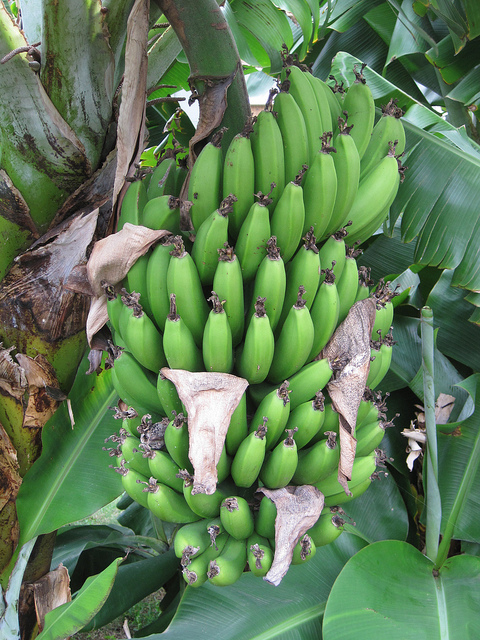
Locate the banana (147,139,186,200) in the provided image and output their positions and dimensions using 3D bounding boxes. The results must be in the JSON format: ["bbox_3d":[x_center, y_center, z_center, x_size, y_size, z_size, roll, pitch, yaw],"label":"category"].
[{"bbox_3d":[-0.208,-0.438,1.714,0.104,0.168,0.201,-3,43,-5],"label":"banana"}]

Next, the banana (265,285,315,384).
[{"bbox_3d":[0.121,0.034,1.497,0.087,0.265,0.084,5,41,7],"label":"banana"}]

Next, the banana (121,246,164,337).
[{"bbox_3d":[-0.248,-0.097,1.532,0.065,0.282,0.108,-1,20,8],"label":"banana"}]

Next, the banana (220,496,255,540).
[{"bbox_3d":[0.007,0.447,1.426,0.057,0.112,0.067,-4,30,22],"label":"banana"}]

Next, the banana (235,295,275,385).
[{"bbox_3d":[0.036,0.055,1.448,0.073,0.222,0.069,-13,43,-15],"label":"banana"}]

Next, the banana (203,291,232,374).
[{"bbox_3d":[-0.045,0.041,1.444,0.070,0.229,0.065,-5,34,-9],"label":"banana"}]

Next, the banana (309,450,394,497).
[{"bbox_3d":[0.313,0.389,1.660,0.166,0.039,0.068,-29,-6,34],"label":"banana"}]

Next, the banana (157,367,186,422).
[{"bbox_3d":[-0.170,0.181,1.473,0.041,0.166,0.055,-6,32,12],"label":"banana"}]

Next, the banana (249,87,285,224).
[{"bbox_3d":[0.061,-0.426,1.621,0.083,0.342,0.117,-1,1,-2],"label":"banana"}]

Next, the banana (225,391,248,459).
[{"bbox_3d":[-0.011,0.245,1.444,0.040,0.158,0.051,7,31,-3],"label":"banana"}]

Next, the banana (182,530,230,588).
[{"bbox_3d":[-0.090,0.551,1.451,0.035,0.105,0.069,-37,91,-38],"label":"banana"}]

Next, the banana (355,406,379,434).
[{"bbox_3d":[0.362,0.267,1.720,0.034,0.040,0.113,-19,14,43],"label":"banana"}]

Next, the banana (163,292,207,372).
[{"bbox_3d":[-0.131,0.028,1.455,0.086,0.263,0.073,-13,29,-28],"label":"banana"}]

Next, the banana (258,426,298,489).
[{"bbox_3d":[0.086,0.318,1.432,0.075,0.164,0.069,7,40,-18],"label":"banana"}]

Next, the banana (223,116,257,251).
[{"bbox_3d":[0.001,-0.359,1.621,0.111,0.342,0.077,12,8,41],"label":"banana"}]

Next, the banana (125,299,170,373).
[{"bbox_3d":[-0.238,0.060,1.537,0.067,0.219,0.078,-9,8,38],"label":"banana"}]

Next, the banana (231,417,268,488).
[{"bbox_3d":[0.021,0.313,1.425,0.061,0.209,0.059,18,32,12],"label":"banana"}]

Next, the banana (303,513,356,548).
[{"bbox_3d":[0.215,0.541,1.587,0.088,0.128,0.053,5,42,4],"label":"banana"}]

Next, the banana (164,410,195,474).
[{"bbox_3d":[-0.133,0.288,1.478,0.052,0.182,0.064,-18,30,-27],"label":"banana"}]

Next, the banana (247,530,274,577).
[{"bbox_3d":[0.041,0.551,1.422,0.045,0.065,0.122,-26,49,24],"label":"banana"}]

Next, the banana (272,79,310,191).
[{"bbox_3d":[0.134,-0.490,1.605,0.075,0.316,0.108,-5,9,-14],"label":"banana"}]

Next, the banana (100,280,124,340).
[{"bbox_3d":[-0.313,-0.010,1.597,0.047,0.178,0.060,-16,59,-13],"label":"banana"}]

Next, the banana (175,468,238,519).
[{"bbox_3d":[-0.082,0.363,1.469,0.099,0.059,0.166,49,18,-6],"label":"banana"}]

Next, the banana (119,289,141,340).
[{"bbox_3d":[-0.262,-0.016,1.487,0.045,0.129,0.045,33,53,23],"label":"banana"}]

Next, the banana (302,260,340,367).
[{"bbox_3d":[0.211,-0.019,1.597,0.074,0.294,0.101,19,17,34],"label":"banana"}]

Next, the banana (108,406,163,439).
[{"bbox_3d":[-0.272,0.267,1.642,0.061,0.208,0.071,-16,72,9],"label":"banana"}]

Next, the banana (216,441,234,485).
[{"bbox_3d":[-0.037,0.350,1.459,0.033,0.118,0.035,11,22,0],"label":"banana"}]

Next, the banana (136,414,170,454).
[{"bbox_3d":[-0.208,0.278,1.503,0.066,0.037,0.105,-31,78,-6],"label":"banana"}]

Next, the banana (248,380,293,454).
[{"bbox_3d":[0.066,0.229,1.500,0.065,0.213,0.081,35,44,30],"label":"banana"}]

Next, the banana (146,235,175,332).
[{"bbox_3d":[-0.195,-0.093,1.546,0.074,0.243,0.065,8,0,-11],"label":"banana"}]

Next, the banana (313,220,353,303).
[{"bbox_3d":[0.215,-0.169,1.624,0.070,0.243,0.064,3,-19,41],"label":"banana"}]

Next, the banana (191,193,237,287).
[{"bbox_3d":[-0.058,-0.185,1.554,0.070,0.247,0.092,5,23,-46],"label":"banana"}]

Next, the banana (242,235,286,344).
[{"bbox_3d":[0.046,-0.049,1.535,0.069,0.299,0.105,8,20,8],"label":"banana"}]

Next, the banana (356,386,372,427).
[{"bbox_3d":[0.331,0.230,1.649,0.037,0.132,0.040,-5,8,-29],"label":"banana"}]

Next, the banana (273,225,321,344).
[{"bbox_3d":[0.127,-0.058,1.629,0.082,0.360,0.125,25,39,26],"label":"banana"}]

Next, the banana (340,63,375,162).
[{"bbox_3d":[0.333,-0.580,1.772,0.080,0.332,0.115,0,4,11],"label":"banana"}]

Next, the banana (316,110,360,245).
[{"bbox_3d":[0.265,-0.379,1.673,0.090,0.360,0.123,6,10,-20],"label":"banana"}]

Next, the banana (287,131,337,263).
[{"bbox_3d":[0.205,-0.290,1.652,0.129,0.376,0.100,6,72,15],"label":"banana"}]

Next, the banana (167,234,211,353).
[{"bbox_3d":[-0.123,-0.066,1.470,0.080,0.294,0.110,-6,19,9],"label":"banana"}]
